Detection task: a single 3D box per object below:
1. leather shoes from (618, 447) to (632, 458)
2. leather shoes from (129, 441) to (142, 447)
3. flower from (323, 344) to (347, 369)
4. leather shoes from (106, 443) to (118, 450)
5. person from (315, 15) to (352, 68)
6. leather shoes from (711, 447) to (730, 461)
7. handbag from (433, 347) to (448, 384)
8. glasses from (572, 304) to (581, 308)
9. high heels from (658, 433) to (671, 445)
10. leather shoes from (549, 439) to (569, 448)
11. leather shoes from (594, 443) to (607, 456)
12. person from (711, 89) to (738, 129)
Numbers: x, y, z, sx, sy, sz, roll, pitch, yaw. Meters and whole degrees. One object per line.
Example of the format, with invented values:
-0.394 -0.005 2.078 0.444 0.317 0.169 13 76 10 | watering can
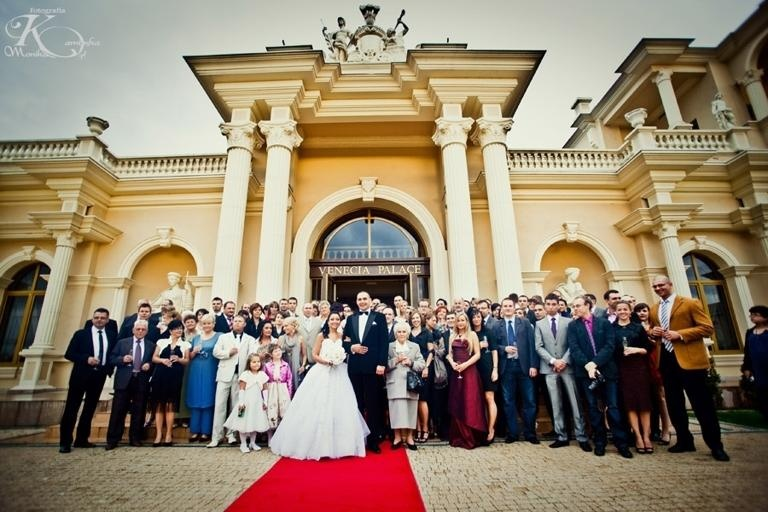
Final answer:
4.687 3.791 8.264 0.117 0.108 0.253 -4 -12 -3 | leather shoes
-5.280 4.000 9.134 0.307 0.120 0.102 -16 -19 40 | leather shoes
-0.971 1.953 8.535 0.400 0.344 0.206 -2 4 -14 | flower
-5.684 3.962 8.926 0.108 0.198 0.281 3 -29 -8 | leather shoes
-1.727 -8.488 16.799 1.009 1.822 0.608 -1 4 -3 | person
6.361 3.711 8.029 0.288 0.180 0.288 2 5 31 | leather shoes
1.210 2.329 9.116 0.260 0.582 0.551 -9 -38 8 | handbag
4.061 1.026 8.934 0.094 0.048 0.078 13 -17 -32 | glasses
5.932 3.820 8.927 0.141 0.185 0.461 -2 -18 7 | high heels
3.666 3.849 8.847 0.432 0.171 0.158 4 -12 -13 | leather shoes
4.244 3.770 8.355 0.200 0.190 0.240 1 5 26 | leather shoes
12.937 -5.507 16.175 0.551 1.543 1.232 1 5 19 | person
